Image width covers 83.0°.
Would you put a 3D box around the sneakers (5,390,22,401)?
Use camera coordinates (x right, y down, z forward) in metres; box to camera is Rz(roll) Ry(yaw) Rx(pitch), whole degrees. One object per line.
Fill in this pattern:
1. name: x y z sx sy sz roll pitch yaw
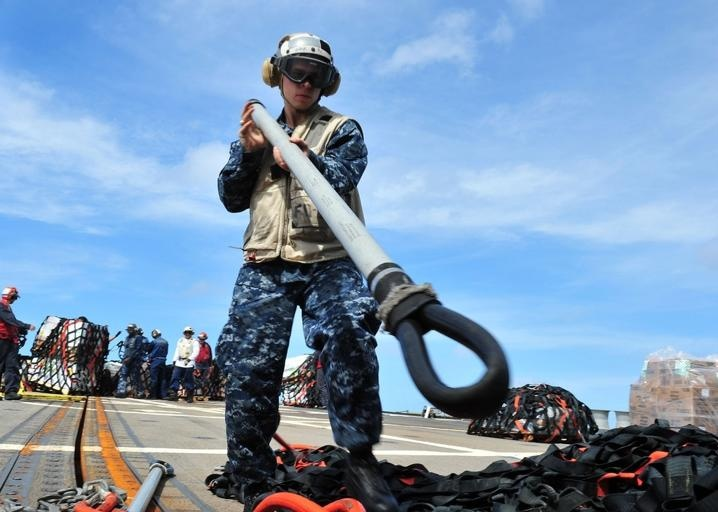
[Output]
1. sneakers: -8.227 3.326 9.681 0.556 0.208 0.200 -17 -17 33
